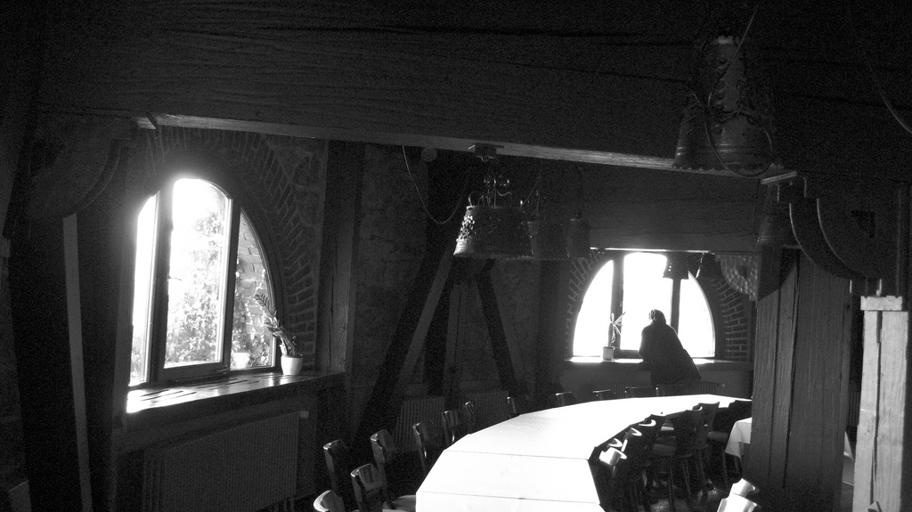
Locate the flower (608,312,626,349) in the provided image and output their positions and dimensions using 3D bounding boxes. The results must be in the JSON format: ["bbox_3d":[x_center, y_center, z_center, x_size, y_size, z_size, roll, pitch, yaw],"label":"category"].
[{"bbox_3d":[2.504,1.140,10.367,0.308,0.563,0.080,4,-4,-29],"label":"flower"}]

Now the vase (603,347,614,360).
[{"bbox_3d":[2.266,1.450,9.938,0.184,0.204,0.165,0,-7,14],"label":"vase"}]

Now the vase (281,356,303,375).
[{"bbox_3d":[-1.646,1.084,6.712,0.208,0.146,0.193,3,-3,25],"label":"vase"}]

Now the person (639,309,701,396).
[{"bbox_3d":[3.105,1.335,9.666,0.851,1.103,0.403,1,-4,5],"label":"person"}]

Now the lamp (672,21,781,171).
[{"bbox_3d":[1.258,-0.732,3.151,0.432,0.648,0.351,0,-4,24],"label":"lamp"}]

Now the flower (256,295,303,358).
[{"bbox_3d":[-1.797,0.690,6.732,0.509,0.622,0.350,3,-4,-23],"label":"flower"}]
